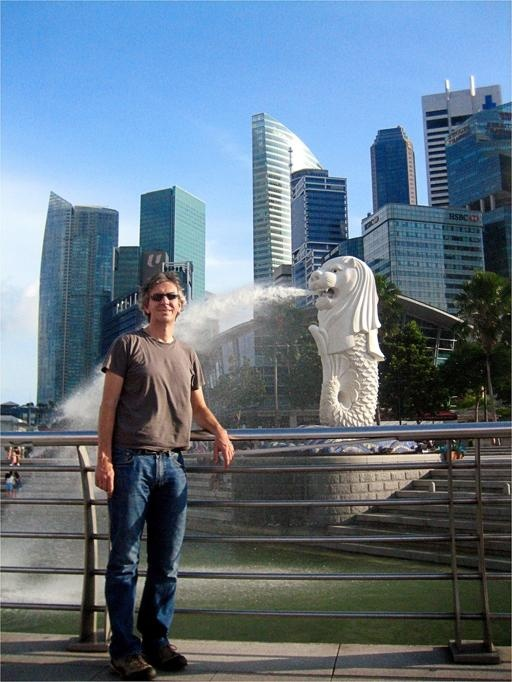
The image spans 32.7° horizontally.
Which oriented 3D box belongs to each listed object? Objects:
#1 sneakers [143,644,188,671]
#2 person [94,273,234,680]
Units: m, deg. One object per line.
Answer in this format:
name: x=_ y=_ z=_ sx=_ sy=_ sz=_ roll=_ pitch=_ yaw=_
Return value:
sneakers: x=-0.417 y=1.439 z=3.956 sx=0.231 sy=0.083 sz=0.083 roll=-8 pitch=-20 yaw=33
person: x=-0.474 y=0.581 z=4.186 sx=0.634 sy=1.888 sz=0.441 roll=2 pitch=-10 yaw=-15
